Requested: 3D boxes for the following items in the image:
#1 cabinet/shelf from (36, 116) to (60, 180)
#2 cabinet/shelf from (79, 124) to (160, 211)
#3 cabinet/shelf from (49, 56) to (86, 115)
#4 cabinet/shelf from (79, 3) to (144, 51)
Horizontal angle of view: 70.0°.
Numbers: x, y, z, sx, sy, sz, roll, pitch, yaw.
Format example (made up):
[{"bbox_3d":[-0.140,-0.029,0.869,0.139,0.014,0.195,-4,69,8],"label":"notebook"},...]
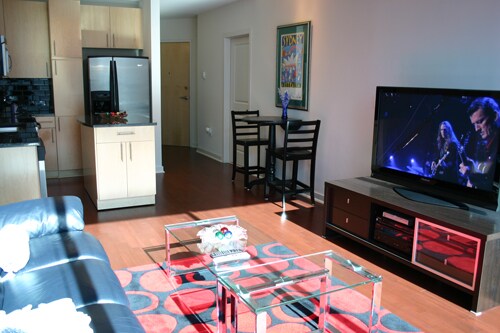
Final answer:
[{"bbox_3d":[-3.411,-0.341,6.085,0.284,1.061,0.148,-8,15,-26],"label":"cabinet/shelf"},{"bbox_3d":[-1.678,-0.107,4.972,0.851,1.110,1.308,-3,19,-18],"label":"cabinet/shelf"},{"bbox_3d":[-3.091,-1.347,6.066,0.484,0.931,0.116,-5,14,-15],"label":"cabinet/shelf"},{"bbox_3d":[-2.562,-2.563,6.588,1.123,0.729,0.403,-1,10,-14],"label":"cabinet/shelf"}]
